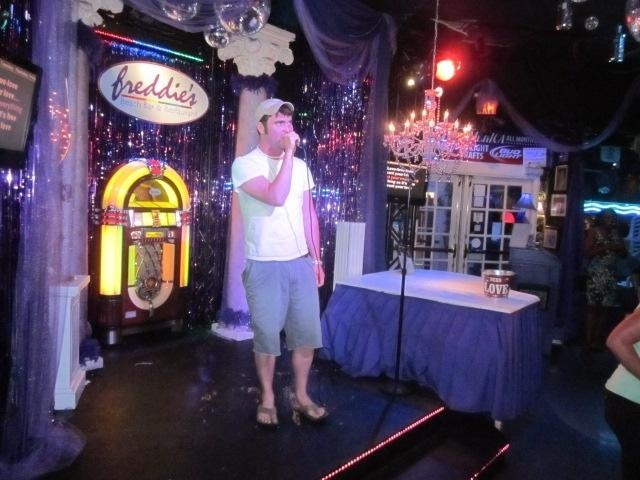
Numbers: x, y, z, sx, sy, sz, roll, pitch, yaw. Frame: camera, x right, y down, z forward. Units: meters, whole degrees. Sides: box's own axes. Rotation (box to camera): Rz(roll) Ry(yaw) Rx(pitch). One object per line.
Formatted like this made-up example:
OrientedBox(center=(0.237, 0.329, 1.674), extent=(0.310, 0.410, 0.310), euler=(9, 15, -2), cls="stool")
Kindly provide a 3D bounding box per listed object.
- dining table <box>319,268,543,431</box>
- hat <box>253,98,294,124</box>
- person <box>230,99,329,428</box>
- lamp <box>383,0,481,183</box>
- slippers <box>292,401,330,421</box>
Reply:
OrientedBox(center=(0.958, 0.650, 4.115), extent=(1.302, 0.775, 1.311), euler=(3, -1, -44), cls="dining table")
OrientedBox(center=(-0.345, -0.920, 3.408), extent=(0.216, 0.124, 0.161), euler=(-29, -1, 39), cls="hat")
OrientedBox(center=(-0.297, 0.168, 3.430), extent=(0.701, 2.294, 0.442), euler=(2, 8, -12), cls="person")
OrientedBox(center=(1.415, -1.782, 5.882), extent=(1.069, 1.929, 2.513), euler=(6, 9, 17), cls="lamp")
OrientedBox(center=(-0.074, 1.242, 3.497), extent=(0.106, 0.062, 0.234), euler=(3, -7, -35), cls="slippers")
